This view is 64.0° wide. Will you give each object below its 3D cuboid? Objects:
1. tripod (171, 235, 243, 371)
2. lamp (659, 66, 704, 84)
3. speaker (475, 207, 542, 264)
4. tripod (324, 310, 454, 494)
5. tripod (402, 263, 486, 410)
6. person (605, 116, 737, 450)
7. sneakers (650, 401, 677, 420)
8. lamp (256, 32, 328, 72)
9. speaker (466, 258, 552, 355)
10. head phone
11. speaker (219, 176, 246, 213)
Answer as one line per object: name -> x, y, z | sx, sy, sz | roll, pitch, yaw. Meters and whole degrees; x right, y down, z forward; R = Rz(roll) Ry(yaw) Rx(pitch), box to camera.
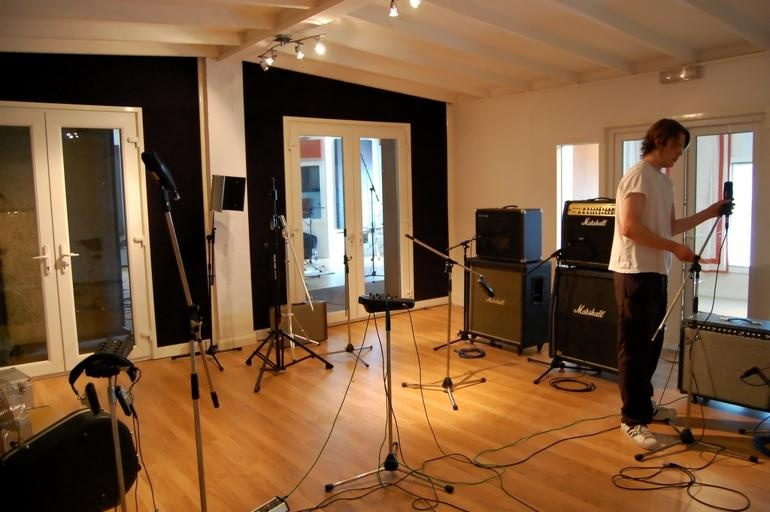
tripod -> -1.992, 0.464, 7.253 | 0.384, 1.559, 0.639 | -2, 7, -2
lamp -> 3.361, -2.060, 6.958 | 0.448, 0.182, 0.101 | 4, 10, 38
speaker -> 1.494, -0.274, 7.312 | 0.448, 0.710, 0.744 | -12, 13, -43
tripod -> 0.043, 1.478, 6.101 | 1.076, 1.676, 1.072 | 8, 14, 34
tripod -> 0.666, 0.663, 6.480 | 0.944, 1.529, 1.004 | 4, 4, 41
person -> 2.291, 0.236, 5.308 | 0.559, 2.784, 0.553 | -2, 7, -3
sneakers -> 2.630, 1.445, 5.742 | 0.350, 0.152, 0.127 | -2, 2, -26
lamp -> -1.094, -2.311, 6.931 | 0.869, 0.243, 0.224 | -5, 3, 13
speaker -> 1.502, 0.581, 7.473 | 0.581, 1.051, 0.922 | -2, 4, -38
head phone -> -1.887, 0.782, 4.307 | 0.464, 0.598, 0.214 | 0, 10, -13
speaker -> -1.746, -0.720, 7.139 | 0.334, 0.378, 0.099 | 3, 1, -45
